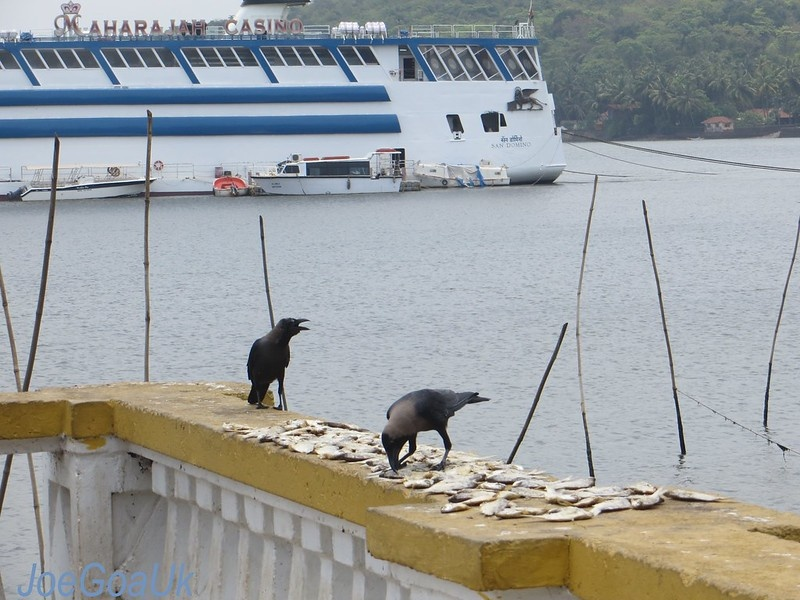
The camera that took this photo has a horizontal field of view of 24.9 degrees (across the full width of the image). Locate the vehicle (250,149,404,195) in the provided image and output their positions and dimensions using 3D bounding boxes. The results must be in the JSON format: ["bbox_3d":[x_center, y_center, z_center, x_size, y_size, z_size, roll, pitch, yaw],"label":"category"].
[{"bbox_3d":[-2.984,-5.662,84.548,8.457,2.139,2.450,-3,12,-6],"label":"vehicle"}]

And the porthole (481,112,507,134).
[{"bbox_3d":[4.422,-8.455,85.941,1.192,0.936,0.265,1,6,5],"label":"porthole"}]
